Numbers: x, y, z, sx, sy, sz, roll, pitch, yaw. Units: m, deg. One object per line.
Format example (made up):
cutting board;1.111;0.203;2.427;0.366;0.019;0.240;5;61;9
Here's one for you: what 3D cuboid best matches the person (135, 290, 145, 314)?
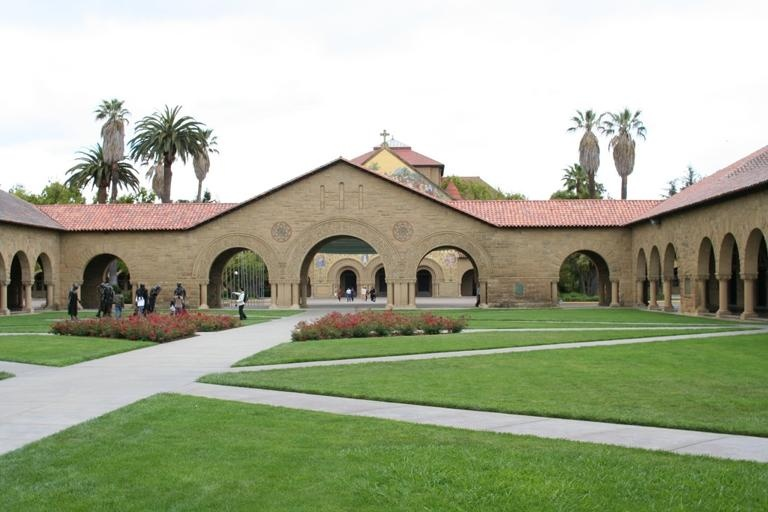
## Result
person;-11.069;2.060;31.014;0.355;1.170;0.506;-1;1;-18
